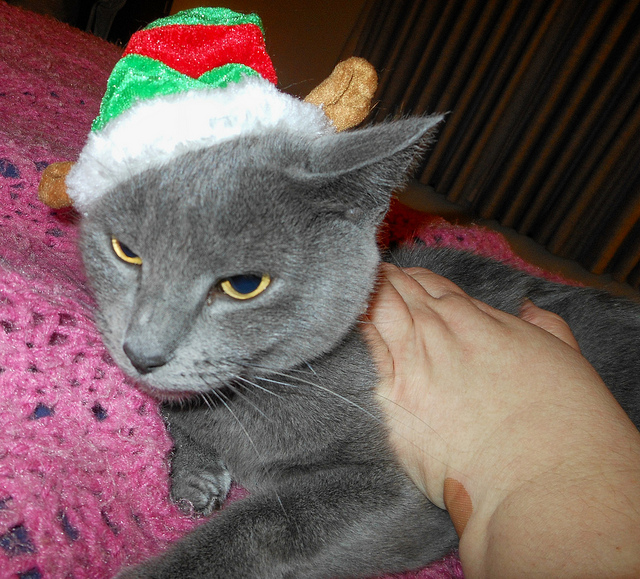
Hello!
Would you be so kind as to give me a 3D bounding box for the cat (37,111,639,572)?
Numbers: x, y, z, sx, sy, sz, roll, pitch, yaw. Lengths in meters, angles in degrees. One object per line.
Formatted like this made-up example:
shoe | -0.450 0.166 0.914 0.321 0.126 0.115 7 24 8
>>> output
cat | 0.188 -0.057 1.193 1.177 0.646 0.541 -22 50 -38
